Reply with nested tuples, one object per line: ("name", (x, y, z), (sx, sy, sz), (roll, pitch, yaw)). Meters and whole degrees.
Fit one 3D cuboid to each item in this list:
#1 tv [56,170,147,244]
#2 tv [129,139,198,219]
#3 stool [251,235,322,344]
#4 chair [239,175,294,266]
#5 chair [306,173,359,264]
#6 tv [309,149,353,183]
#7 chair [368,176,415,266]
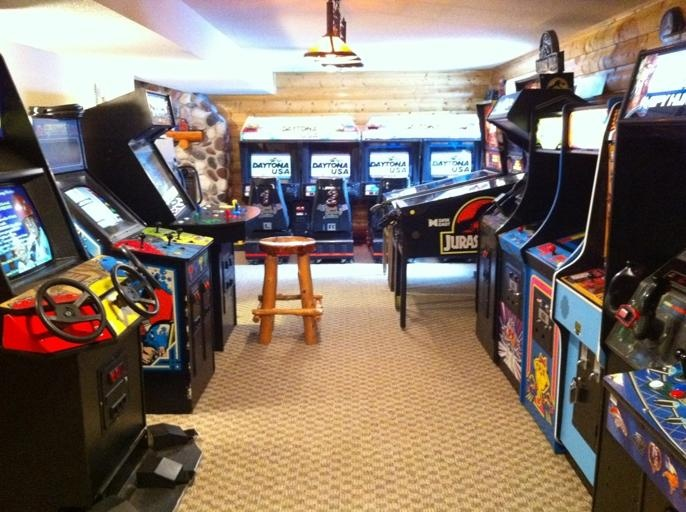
("tv", (-1.633, -0.336, 3.120), (0.264, 0.452, 0.479), (-24, 19, -3))
("tv", (-1.673, -0.757, 4.491), (0.299, 0.829, 0.894), (-12, 10, -1))
("stool", (-0.573, 0.321, 4.590), (0.800, 0.935, 0.880), (2, 8, 13))
("chair", (-1.299, -0.549, 7.547), (0.969, 1.383, 0.968), (-2, 2, 41))
("chair", (-0.125, -0.586, 7.443), (0.816, 1.320, 0.799), (1, 10, 19))
("tv", (-0.215, -1.516, 7.786), (0.891, 0.589, 0.485), (1, 6, 2))
("chair", (0.840, -0.481, 7.058), (0.711, 1.100, 0.743), (2, 14, 23))
